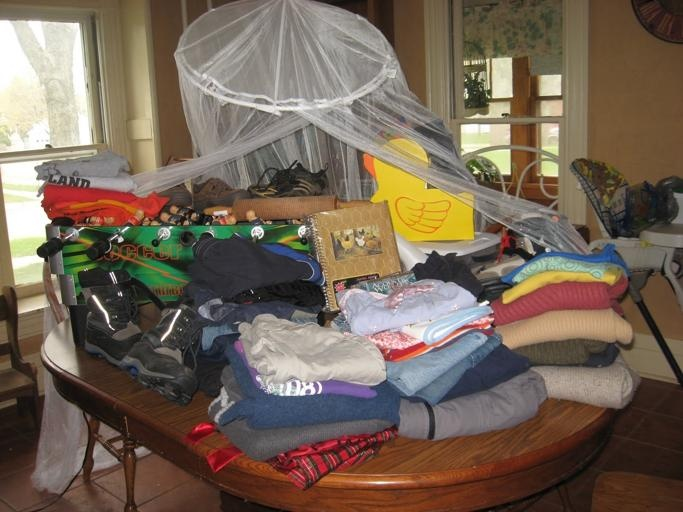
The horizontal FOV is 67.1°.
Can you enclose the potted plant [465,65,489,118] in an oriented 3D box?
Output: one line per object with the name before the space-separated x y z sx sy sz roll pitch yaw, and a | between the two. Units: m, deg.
potted plant | 0.923 -1.151 3.549 0.064 0.345 0.181 -20 19 -34
